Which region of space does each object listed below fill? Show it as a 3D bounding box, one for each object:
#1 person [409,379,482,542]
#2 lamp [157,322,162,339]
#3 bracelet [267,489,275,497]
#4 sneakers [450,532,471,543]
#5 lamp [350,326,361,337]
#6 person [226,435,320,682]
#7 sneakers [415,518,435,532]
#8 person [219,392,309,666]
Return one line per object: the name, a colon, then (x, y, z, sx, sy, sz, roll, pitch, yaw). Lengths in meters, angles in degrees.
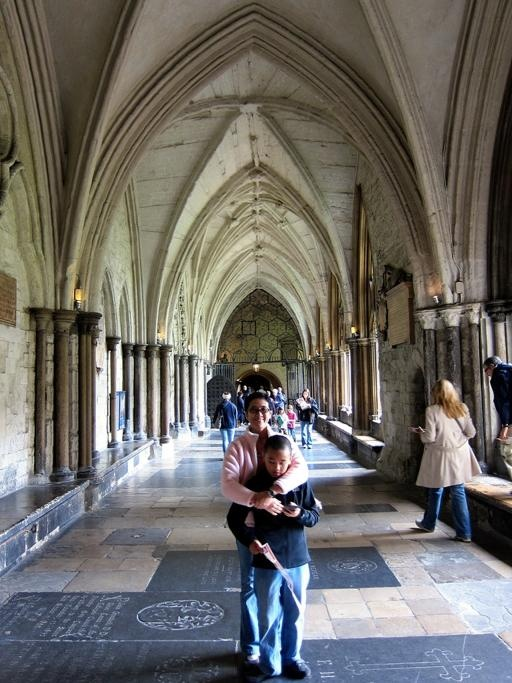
person: (1.664, 1.025, 4.374, 0.518, 1.375, 0.597, -5, -9, 22)
lamp: (-2.452, -0.281, 12.537, 0.086, 0.496, 0.145, -9, -11, 43)
bracelet: (0.052, 0.549, 1.820, 0.022, 0.023, 0.006, -5, 0, 41)
sneakers: (1.769, 1.676, 4.320, 0.056, 0.069, 0.158, 2, 1, -11)
lamp: (2.328, -0.250, 11.757, 0.210, 0.318, 0.232, -4, -8, 16)
person: (0.072, 0.967, 1.967, 0.360, 0.820, 0.398, -1, -8, -4)
sneakers: (1.575, 1.730, 4.699, 0.074, 0.092, 0.203, 1, 7, -21)
person: (0.048, 0.739, 2.012, 0.351, 1.034, 0.348, -4, -3, 5)
